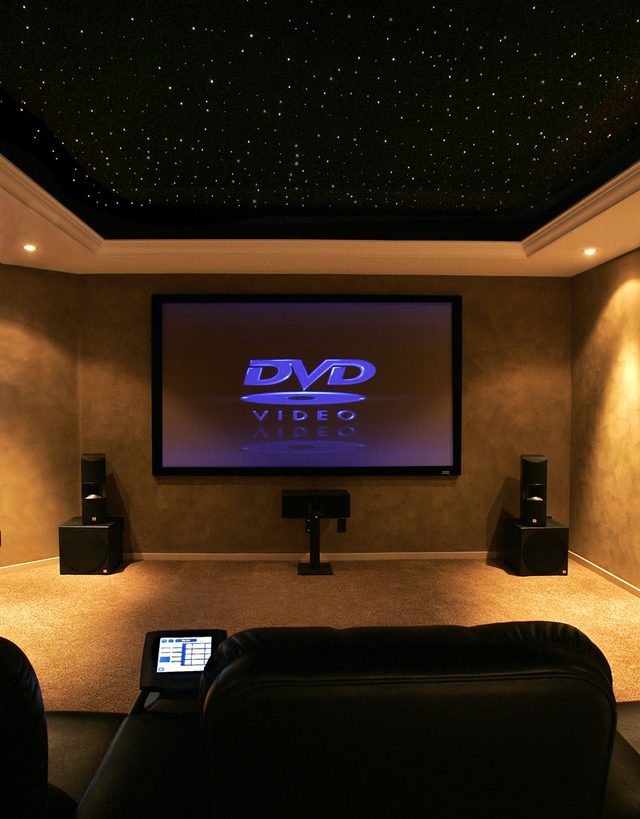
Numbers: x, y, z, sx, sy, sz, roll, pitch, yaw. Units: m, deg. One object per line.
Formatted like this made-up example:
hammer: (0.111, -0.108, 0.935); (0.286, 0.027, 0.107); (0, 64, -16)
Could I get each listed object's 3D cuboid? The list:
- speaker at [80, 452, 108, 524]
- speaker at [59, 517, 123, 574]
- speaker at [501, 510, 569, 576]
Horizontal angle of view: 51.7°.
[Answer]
speaker: (-1.547, 0.539, 4.473); (0.183, 0.462, 0.148); (0, 0, -2)
speaker: (-1.545, 0.918, 4.515); (0.333, 0.362, 0.360); (-1, 0, -1)
speaker: (1.481, 0.936, 4.589); (0.301, 0.319, 0.441); (0, 3, 0)
